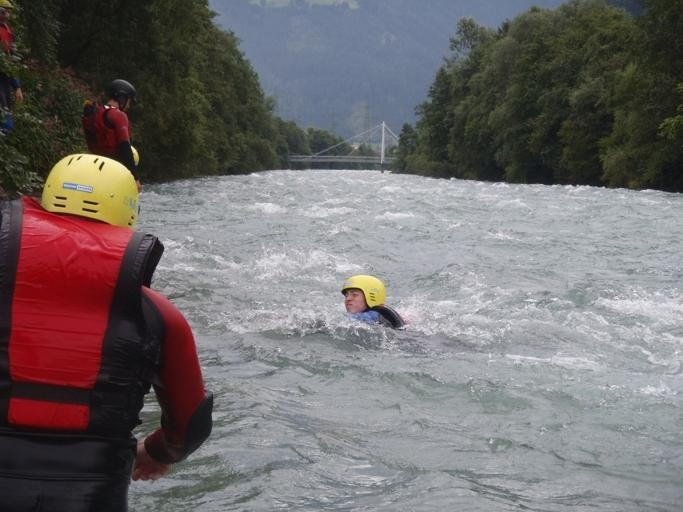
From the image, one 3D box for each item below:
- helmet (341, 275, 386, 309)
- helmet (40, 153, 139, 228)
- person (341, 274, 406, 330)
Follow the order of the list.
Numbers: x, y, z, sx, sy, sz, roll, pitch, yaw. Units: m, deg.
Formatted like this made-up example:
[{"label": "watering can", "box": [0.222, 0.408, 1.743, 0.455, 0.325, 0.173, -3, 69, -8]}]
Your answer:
[{"label": "helmet", "box": [0.286, 0.393, 9.733, 0.462, 0.292, 0.360, -7, 2, -12]}, {"label": "helmet", "box": [-1.465, -0.437, 5.409, 0.474, 0.444, 0.543, 12, 10, 2]}, {"label": "person", "box": [0.365, 0.461, 9.943, 0.902, 0.394, 0.549, 19, -18, -23]}]
